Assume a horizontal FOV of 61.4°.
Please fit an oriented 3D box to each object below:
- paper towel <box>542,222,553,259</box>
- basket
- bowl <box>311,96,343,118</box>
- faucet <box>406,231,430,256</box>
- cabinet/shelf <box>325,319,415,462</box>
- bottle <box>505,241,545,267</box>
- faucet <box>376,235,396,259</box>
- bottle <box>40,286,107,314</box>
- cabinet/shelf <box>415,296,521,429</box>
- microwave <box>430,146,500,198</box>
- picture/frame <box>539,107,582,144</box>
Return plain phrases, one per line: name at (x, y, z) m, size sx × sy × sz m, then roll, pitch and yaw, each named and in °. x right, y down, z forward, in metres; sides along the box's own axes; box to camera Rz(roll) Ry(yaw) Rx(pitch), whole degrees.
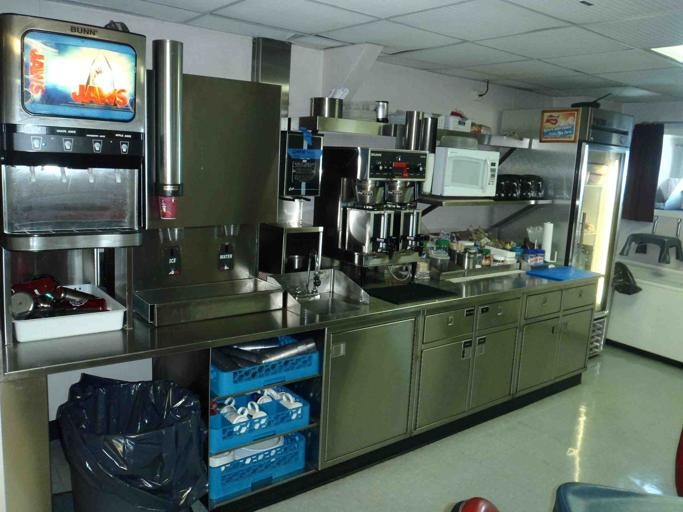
paper towel at (1.932, -0.133, 5.430) m, size 0.095 × 0.356 × 0.228 m, roll 3°, pitch 10°, yaw 21°
basket at (-0.528, 0.969, 3.493) m, size 0.794 × 0.886 × 0.313 m, roll -8°, pitch 12°, yaw -39°
bowl at (-0.113, -1.032, 4.098) m, size 0.209 × 0.139 × 0.199 m, roll 3°, pitch 13°, yaw -1°
faucet at (0.557, -0.087, 4.264) m, size 0.161 × 0.098 × 0.225 m, roll -3°, pitch -9°, yaw 20°
cabinet/shelf at (0.085, 0.873, 4.023) m, size 0.777 × 0.963 × 0.605 m, roll 0°, pitch 0°, yaw -29°
bottle at (1.673, -0.018, 5.302) m, size 0.285 × 0.163 × 0.270 m, roll 1°, pitch 14°, yaw 0°
faucet at (0.301, -0.055, 4.038) m, size 0.159 × 0.160 × 0.077 m, roll -8°, pitch 12°, yaw -37°
bottle at (-1.509, 0.253, 3.212) m, size 0.236 × 0.082 × 0.168 m, roll 3°, pitch 4°, yaw -23°
cabinet/shelf at (0.894, 0.763, 4.234) m, size 1.004 × 0.807 × 0.336 m, roll -7°, pitch 16°, yaw -30°
microwave at (0.934, -0.693, 4.741) m, size 0.665 × 0.393 × 0.420 m, roll -5°, pitch 17°, yaw -33°
picture/frame at (2.017, -1.190, 5.293) m, size 0.038 × 0.289 × 0.357 m, roll -13°, pitch 17°, yaw -43°
